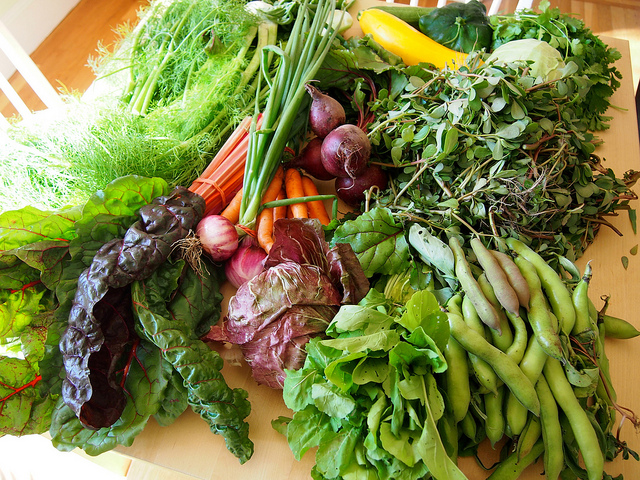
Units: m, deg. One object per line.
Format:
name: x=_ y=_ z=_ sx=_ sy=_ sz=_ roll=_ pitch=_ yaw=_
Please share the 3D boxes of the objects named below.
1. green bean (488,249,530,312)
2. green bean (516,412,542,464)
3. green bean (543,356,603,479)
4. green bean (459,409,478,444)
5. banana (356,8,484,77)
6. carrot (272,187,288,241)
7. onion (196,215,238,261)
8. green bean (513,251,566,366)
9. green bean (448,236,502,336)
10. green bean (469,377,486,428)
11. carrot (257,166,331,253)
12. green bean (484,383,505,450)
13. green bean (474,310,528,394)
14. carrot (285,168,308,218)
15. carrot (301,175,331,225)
green bean: x=0.535 y=0.111 z=1.496 sx=0.049 sy=0.046 sz=0.187 roll=7 pitch=46 yaw=-34
green bean: x=0.554 y=0.525 z=1.410 sx=0.037 sy=0.052 sz=0.149 roll=23 pitch=77 yaw=5
green bean: x=0.677 y=0.478 z=1.445 sx=0.093 sy=0.078 sz=0.415 roll=-5 pitch=72 yaw=-63
green bean: x=0.400 y=0.504 z=1.424 sx=0.029 sy=0.033 sz=0.097 roll=-15 pitch=83 yaw=-41
banana: x=0.371 y=-0.714 z=1.924 sx=0.500 sy=0.145 sz=0.156 roll=30 pitch=-3 yaw=8
carrot: x=-0.127 y=-0.093 z=1.780 sx=0.032 sy=0.033 sz=0.203 roll=12 pitch=57 yaw=-3
onion: x=-0.317 y=-0.002 z=1.636 sx=0.124 sy=0.131 sz=0.072 roll=-7 pitch=33 yaw=-9
green bean: x=0.585 y=0.186 z=1.456 sx=0.043 sy=0.058 sz=0.312 roll=9 pitch=59 yaw=-44
green bean: x=0.415 y=0.112 z=1.519 sx=0.056 sy=0.066 sz=0.337 roll=23 pitch=35 yaw=-39
green bean: x=0.422 y=0.433 z=1.420 sx=0.023 sy=0.143 sz=0.036 roll=-19 pitch=-3 yaw=12
carrot: x=-0.121 y=-0.071 z=1.819 sx=0.185 sy=0.053 sz=0.328 roll=17 pitch=63 yaw=-9
green bean: x=0.475 y=0.471 z=1.440 sx=0.038 sy=0.044 sz=0.189 roll=14 pitch=70 yaw=-22
green bean: x=0.473 y=0.334 z=1.477 sx=0.103 sy=0.224 sz=0.134 roll=-15 pitch=40 yaw=-28
carrot: x=-0.086 y=-0.171 z=1.795 sx=0.049 sy=0.053 sz=0.227 roll=-6 pitch=65 yaw=-10
carrot: x=-0.013 y=-0.134 z=1.799 sx=0.083 sy=0.103 sz=0.187 roll=-6 pitch=34 yaw=-8
